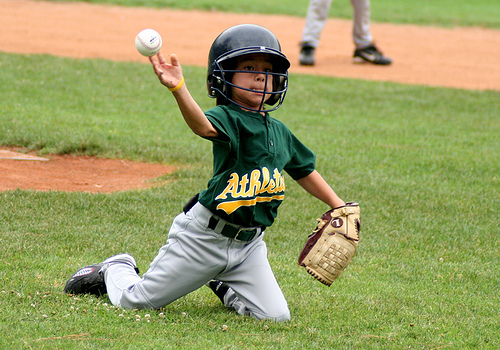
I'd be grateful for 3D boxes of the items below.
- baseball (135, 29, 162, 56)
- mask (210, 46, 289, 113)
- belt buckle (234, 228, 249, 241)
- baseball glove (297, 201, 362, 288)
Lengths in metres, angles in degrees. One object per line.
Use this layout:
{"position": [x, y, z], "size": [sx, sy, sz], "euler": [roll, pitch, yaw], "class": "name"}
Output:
{"position": [-0.757, -0.992, 5.889], "size": [0.198, 0.194, 0.196], "euler": [-1, 2, 8], "class": "baseball"}
{"position": [0.000, -0.817, 6.167], "size": [0.611, 0.579, 0.739], "euler": [3, -2, 4], "class": "mask"}
{"position": [-0.066, 0.462, 6.098], "size": [0.027, 0.094, 0.100], "euler": [22, -11, 2], "class": "belt buckle"}
{"position": [0.686, 0.507, 6.258], "size": [0.460, 0.680, 0.265], "euler": [29, -4, -12], "class": "baseball glove"}
